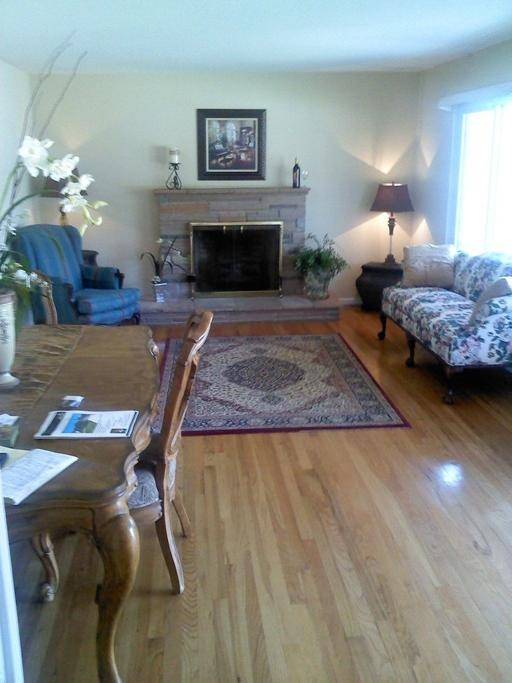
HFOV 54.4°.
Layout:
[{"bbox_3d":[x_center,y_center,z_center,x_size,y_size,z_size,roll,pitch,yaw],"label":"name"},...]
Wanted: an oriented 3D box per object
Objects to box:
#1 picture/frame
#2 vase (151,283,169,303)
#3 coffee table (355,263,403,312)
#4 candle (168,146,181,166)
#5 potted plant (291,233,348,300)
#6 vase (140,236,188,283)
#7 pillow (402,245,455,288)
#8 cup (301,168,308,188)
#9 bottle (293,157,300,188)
[{"bbox_3d":[-0.299,-2.177,5.391,0.754,0.710,0.060,-1,16,-6],"label":"picture/frame"},{"bbox_3d":[-1.029,-0.546,5.446,0.114,0.220,0.199,12,18,43],"label":"vase"},{"bbox_3d":[1.361,-0.638,5.789,0.360,0.467,0.523,3,11,6],"label":"coffee table"},{"bbox_3d":[-0.877,-1.973,5.304,0.126,0.168,0.195,-3,13,-10],"label":"candle"},{"bbox_3d":[0.705,-0.856,5.621,0.571,0.707,0.558,0,13,5],"label":"potted plant"},{"bbox_3d":[-1.007,-0.938,5.543,0.479,0.475,0.245,3,26,-1],"label":"vase"},{"bbox_3d":[1.588,-0.664,4.596,0.422,0.398,0.419,0,3,11],"label":"pillow"},{"bbox_3d":[0.541,-1.827,5.534,0.082,0.192,0.190,1,13,7],"label":"cup"},{"bbox_3d":[0.448,-1.850,5.488,0.092,0.327,0.249,0,13,4],"label":"bottle"}]
